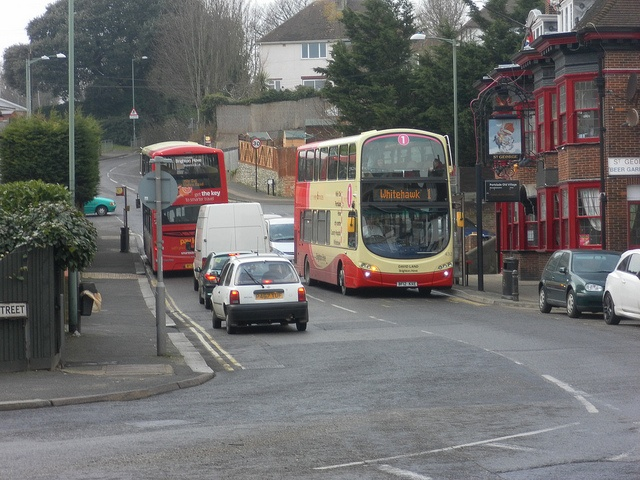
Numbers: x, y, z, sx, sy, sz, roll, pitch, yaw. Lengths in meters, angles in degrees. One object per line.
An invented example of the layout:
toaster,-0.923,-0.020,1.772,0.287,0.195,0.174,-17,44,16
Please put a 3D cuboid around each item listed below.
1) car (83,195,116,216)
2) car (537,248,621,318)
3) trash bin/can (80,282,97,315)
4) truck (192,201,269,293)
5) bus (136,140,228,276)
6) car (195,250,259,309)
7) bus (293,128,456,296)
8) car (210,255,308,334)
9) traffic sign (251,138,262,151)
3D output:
car,-14.806,-2.287,74.136,1.258,1.236,2.768,0,1,21
car,7.680,1.182,31.574,2.034,1.867,4.249,0,-1,-2
trash bin/can,-5.821,1.469,27.720,0.419,0.783,0.468,-1,1,-15
truck,-3.195,0.010,39.003,2.022,3.400,2.212,0,4,-24
bus,-6.256,-1.437,47.808,2.949,5.155,9.405,0,3,-13
car,-2.984,1.179,35.906,1.836,1.838,3.677,-2,3,-11
bus,1.412,-1.099,40.868,3.597,5.681,10.988,0,2,-14
car,-1.572,1.346,28.511,1.690,1.702,3.995,0,0,-11
traffic sign,-4.881,-7.609,86.202,0.743,0.973,1.997,-1,1,-3
